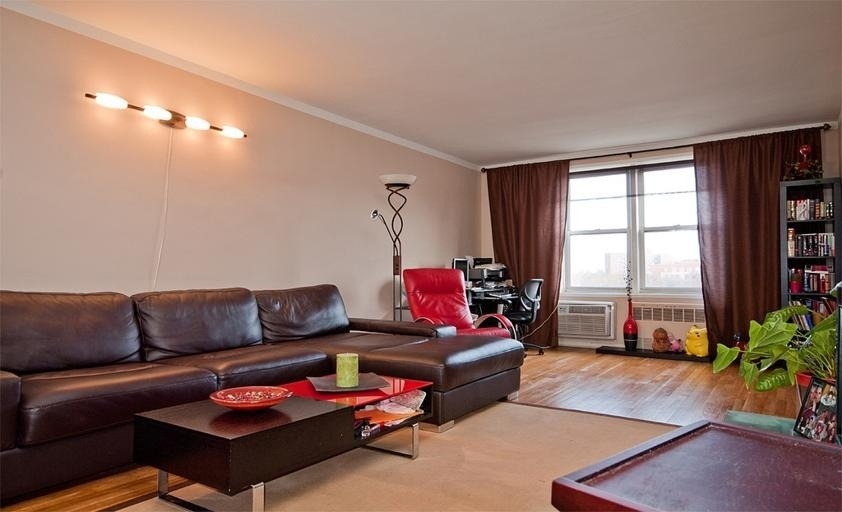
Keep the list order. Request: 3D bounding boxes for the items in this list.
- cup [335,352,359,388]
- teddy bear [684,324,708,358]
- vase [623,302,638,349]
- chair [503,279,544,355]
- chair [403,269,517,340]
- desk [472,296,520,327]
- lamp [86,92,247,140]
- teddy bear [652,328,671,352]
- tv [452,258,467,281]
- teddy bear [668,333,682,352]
[{"bbox_3d":[-0.497,0.795,3.647,0.239,0.214,0.214,-1,0,-2],"label":"cup"},{"bbox_3d":[3.640,1.097,6.720,0.437,0.359,0.283,1,2,-19],"label":"teddy bear"},{"bbox_3d":[2.875,0.937,7.118,0.196,0.678,0.342,1,6,24],"label":"vase"},{"bbox_3d":[1.323,0.813,7.152,0.800,0.978,0.727,2,-7,13],"label":"chair"},{"bbox_3d":[0.367,0.687,5.684,0.935,1.014,1.056,-3,6,-32],"label":"chair"},{"bbox_3d":[0.992,0.713,7.166,0.490,0.556,0.652,-2,-3,35],"label":"desk"},{"bbox_3d":[-2.263,-1.276,4.752,0.223,0.274,1.291,4,6,45],"label":"lamp"},{"bbox_3d":[3.210,1.114,6.932,0.209,0.299,0.138,-1,6,0],"label":"teddy bear"},{"bbox_3d":[0.506,0.182,6.707,0.043,0.348,0.350,-2,-2,39],"label":"tv"},{"bbox_3d":[3.376,1.150,6.880,0.168,0.208,0.133,-1,6,-1],"label":"teddy bear"}]
